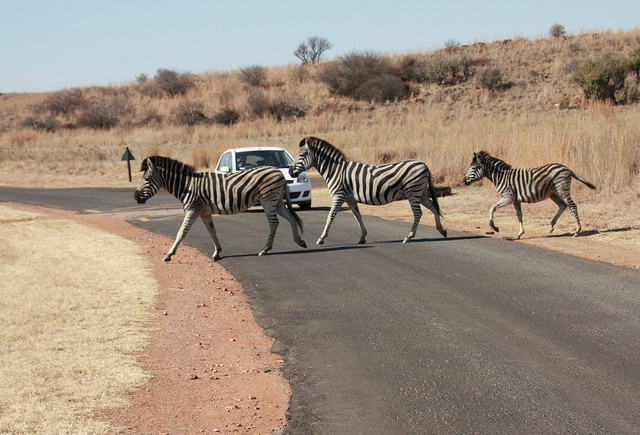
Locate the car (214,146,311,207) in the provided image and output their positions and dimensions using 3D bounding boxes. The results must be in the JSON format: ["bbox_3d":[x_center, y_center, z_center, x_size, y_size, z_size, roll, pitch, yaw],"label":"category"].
[{"bbox_3d":[-1.576,-1.377,20.027,1.756,1.404,2.940,-2,0,-18],"label":"car"}]

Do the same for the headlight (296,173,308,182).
[{"bbox_3d":[-0.587,-1.280,19.842,0.393,0.282,0.604,0,1,-9],"label":"headlight"}]

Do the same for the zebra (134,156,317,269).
[{"bbox_3d":[-2.344,-0.496,16.026,4.107,2.625,5.611,-4,12,-8],"label":"zebra"}]
